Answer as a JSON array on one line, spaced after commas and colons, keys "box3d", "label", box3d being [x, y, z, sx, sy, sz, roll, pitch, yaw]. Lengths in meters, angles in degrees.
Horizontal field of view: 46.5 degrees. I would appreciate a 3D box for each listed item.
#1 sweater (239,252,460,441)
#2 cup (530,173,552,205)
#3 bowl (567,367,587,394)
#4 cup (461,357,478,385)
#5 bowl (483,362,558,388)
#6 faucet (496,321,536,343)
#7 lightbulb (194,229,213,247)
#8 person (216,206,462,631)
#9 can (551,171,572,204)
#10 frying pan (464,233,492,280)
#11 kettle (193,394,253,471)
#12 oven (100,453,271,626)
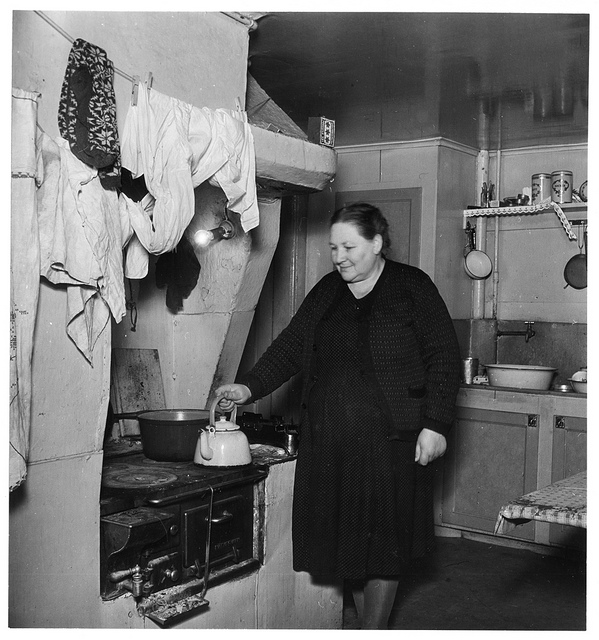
[{"box3d": [0.162, 0.072, 2.271, 0.670, 0.681, 0.353, 6, 28, 21], "label": "sweater"}, {"box3d": [1.461, -0.798, 4.218, 0.145, 0.190, 0.096, 1, 0, 39], "label": "cup"}, {"box3d": [1.524, 0.330, 3.812, 0.103, 0.095, 0.117, -4, -4, 20], "label": "bowl"}, {"box3d": [1.038, 0.306, 4.183, 0.111, 0.163, 0.127, 0, -6, 0], "label": "cup"}, {"box3d": [1.272, 0.323, 3.978, 0.371, 0.137, 0.183, 1, 0, 13], "label": "bowl"}, {"box3d": [1.384, 0.068, 4.404, 0.144, 0.102, 0.121, 2, 6, 21], "label": "faucet"}, {"box3d": [-0.349, -0.301, 2.505, 0.057, 0.074, 0.135, 1, 14, -4], "label": "lightbulb"}, {"box3d": [0.162, 0.225, 2.182, 0.657, 1.253, 0.221, 1, 0, 21], "label": "person"}, {"box3d": [1.563, -0.791, 4.135, 0.114, 0.200, 0.089, 1, 0, 22], "label": "can"}, {"box3d": [1.149, -0.389, 4.466, 0.161, 0.307, 0.062, -2, -10, -15], "label": "frying pan"}, {"box3d": [-0.246, 0.352, 2.194, 0.151, 0.238, 0.208, -8, -7, 32], "label": "kettle"}, {"box3d": [-0.422, 0.626, 2.095, 0.515, 0.342, 0.707, -1, -3, 17], "label": "oven"}]
